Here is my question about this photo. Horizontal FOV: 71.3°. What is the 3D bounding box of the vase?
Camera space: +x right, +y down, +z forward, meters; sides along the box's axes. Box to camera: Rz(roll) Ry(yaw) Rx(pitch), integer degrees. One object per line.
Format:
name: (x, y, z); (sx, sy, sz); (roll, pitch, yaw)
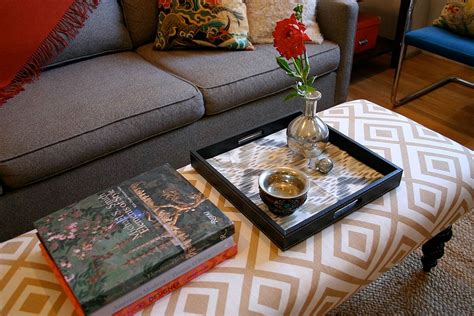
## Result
vase: (0.281, -0.128, 1.289); (0.184, 0.238, 0.171); (-14, 36, -17)

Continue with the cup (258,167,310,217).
cup: (0.144, 0.122, 1.124); (0.180, 0.102, 0.164); (1, 47, -1)
